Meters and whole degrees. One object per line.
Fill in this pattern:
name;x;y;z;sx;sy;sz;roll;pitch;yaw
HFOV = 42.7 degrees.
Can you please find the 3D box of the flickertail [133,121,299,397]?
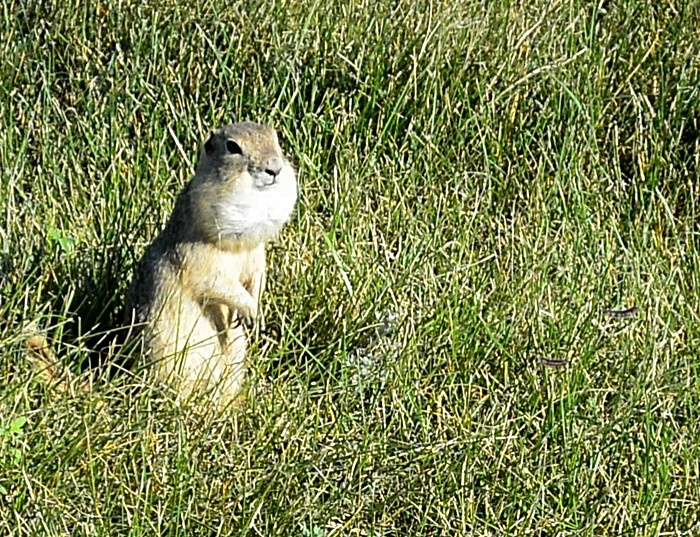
flickertail;-0.657;0.015;4.279;0.812;1.191;0.676;-5;33;-16
